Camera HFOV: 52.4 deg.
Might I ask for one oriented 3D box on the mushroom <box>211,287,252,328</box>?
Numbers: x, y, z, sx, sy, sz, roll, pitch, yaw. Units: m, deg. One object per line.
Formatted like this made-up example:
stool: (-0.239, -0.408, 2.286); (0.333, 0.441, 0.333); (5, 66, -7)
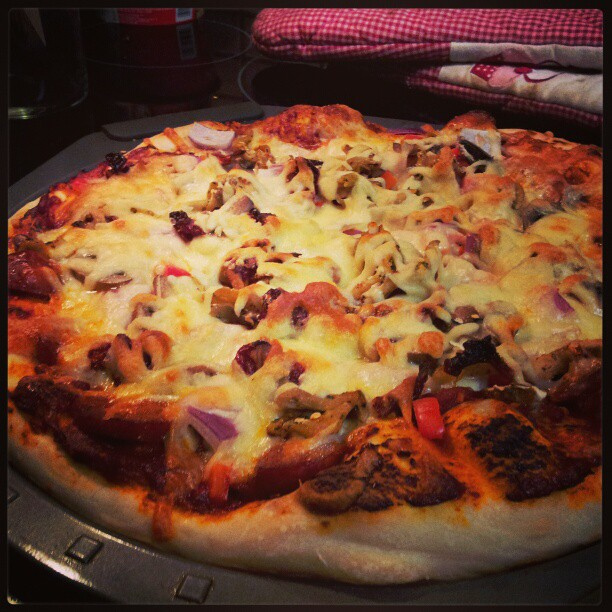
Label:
mushroom: (-0.232, 0.002, 1.842); (0.128, 0.108, 0.038); (42, 15, -7)

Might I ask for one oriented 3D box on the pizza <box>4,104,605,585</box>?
pizza: (0.015, 0.003, 2.004); (1.865, 0.578, 1.673); (8, 39, 17)

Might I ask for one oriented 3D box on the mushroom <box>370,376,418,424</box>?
mushroom: (0.229, 0.243, 1.593); (0.103, 0.031, 0.103); (27, 55, 26)

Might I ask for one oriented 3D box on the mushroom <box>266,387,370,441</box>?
mushroom: (0.030, 0.274, 1.583); (0.213, 0.069, 0.141); (4, 50, 16)

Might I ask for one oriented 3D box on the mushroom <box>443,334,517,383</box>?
mushroom: (0.459, 0.138, 1.664); (0.153, 0.145, 0.048); (-24, 44, 20)

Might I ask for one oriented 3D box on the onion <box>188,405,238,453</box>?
onion: (-0.241, 0.303, 1.602); (0.089, 0.079, 0.116); (-27, 42, -23)

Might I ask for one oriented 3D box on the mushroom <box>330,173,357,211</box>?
mushroom: (0.140, -0.431, 2.306); (0.052, 0.132, 0.110); (28, 24, 9)

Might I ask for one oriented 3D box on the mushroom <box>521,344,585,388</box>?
mushroom: (0.673, 0.164, 1.720); (0.170, 0.087, 0.076); (-18, 40, -16)

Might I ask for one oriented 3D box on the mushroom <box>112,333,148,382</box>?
mushroom: (-0.508, 0.147, 1.769); (0.110, 0.043, 0.121); (-10, 64, -34)

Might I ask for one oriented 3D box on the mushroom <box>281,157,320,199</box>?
mushroom: (-0.003, -0.475, 2.399); (0.194, 0.061, 0.164); (8, 89, 26)

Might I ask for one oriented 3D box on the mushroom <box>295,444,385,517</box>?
mushroom: (0.091, 0.418, 1.503); (0.132, 0.065, 0.218); (39, 71, 24)

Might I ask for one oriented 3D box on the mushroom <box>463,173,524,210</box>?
mushroom: (0.702, -0.449, 2.326); (0.158, 0.076, 0.199); (-34, 46, -20)

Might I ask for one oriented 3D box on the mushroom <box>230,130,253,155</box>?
mushroom: (-0.267, -0.703, 2.626); (0.097, 0.031, 0.139); (15, 46, 4)

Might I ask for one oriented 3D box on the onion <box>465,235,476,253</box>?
onion: (0.552, -0.208, 2.081); (0.037, 0.013, 0.047); (-1, 76, 6)

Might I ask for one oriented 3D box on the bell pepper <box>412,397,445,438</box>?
bell pepper: (0.319, 0.286, 1.599); (0.082, 0.033, 0.094); (-3, 80, -7)

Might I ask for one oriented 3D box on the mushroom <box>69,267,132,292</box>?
mushroom: (-0.670, -0.073, 1.992); (0.140, 0.110, 0.031); (0, 79, 15)

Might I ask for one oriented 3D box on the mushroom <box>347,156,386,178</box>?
mushroom: (0.245, -0.562, 2.488); (0.130, 0.036, 0.081); (16, 17, -35)

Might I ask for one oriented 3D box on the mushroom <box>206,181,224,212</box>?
mushroom: (-0.329, -0.400, 2.266); (0.028, 0.089, 0.095); (27, 6, -4)

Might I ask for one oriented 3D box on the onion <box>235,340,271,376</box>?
onion: (-0.151, 0.142, 1.706); (0.081, 0.027, 0.097); (38, 64, -7)
